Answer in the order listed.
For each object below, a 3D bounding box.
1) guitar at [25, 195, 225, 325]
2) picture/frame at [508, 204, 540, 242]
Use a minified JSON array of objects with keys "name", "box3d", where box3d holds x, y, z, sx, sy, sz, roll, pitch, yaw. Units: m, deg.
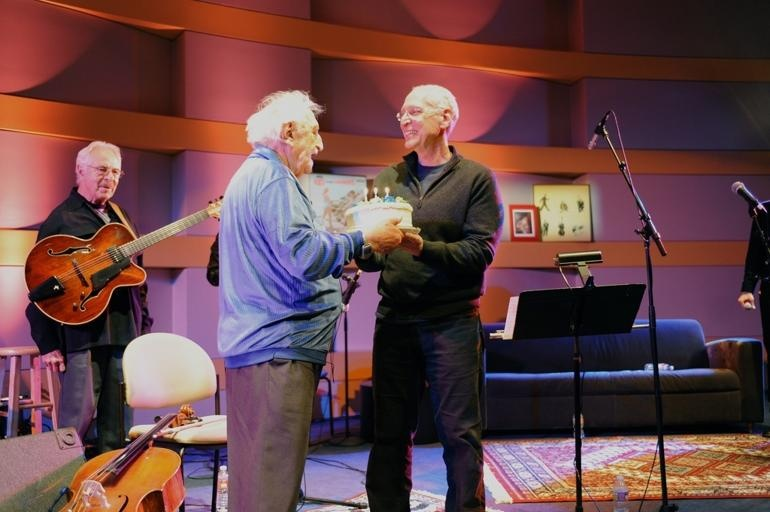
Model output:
[{"name":"guitar","box3d":[-2.244,-0.014,6.616,1.431,0.551,0.193,-34,7,-36]},{"name":"picture/frame","box3d":[1.721,-0.404,9.870,0.460,0.604,0.046,1,-19,-8]}]
